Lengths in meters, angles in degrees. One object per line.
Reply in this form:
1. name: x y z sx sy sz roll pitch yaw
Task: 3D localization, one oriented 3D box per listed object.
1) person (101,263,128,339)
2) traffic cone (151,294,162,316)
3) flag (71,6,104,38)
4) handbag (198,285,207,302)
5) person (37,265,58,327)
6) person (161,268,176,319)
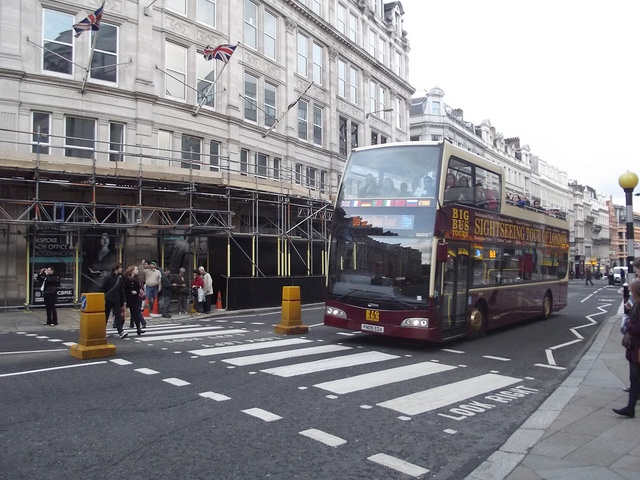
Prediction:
1. person: -5.333 1.639 15.051 0.519 2.023 1.445 0 4 -12
2. traffic cone: -5.866 2.393 20.998 0.535 0.820 0.577 1 -5 1
3. flag: -8.263 -7.987 20.927 1.021 0.925 0.949 0 4 -9
4. handbag: -4.365 2.044 21.580 0.150 0.549 0.381 2 4 20
5. person: -8.412 1.795 18.164 0.413 1.747 0.676 -1 4 -25
6. person: -5.630 2.047 21.397 0.446 1.612 2.409 0 4 -16
